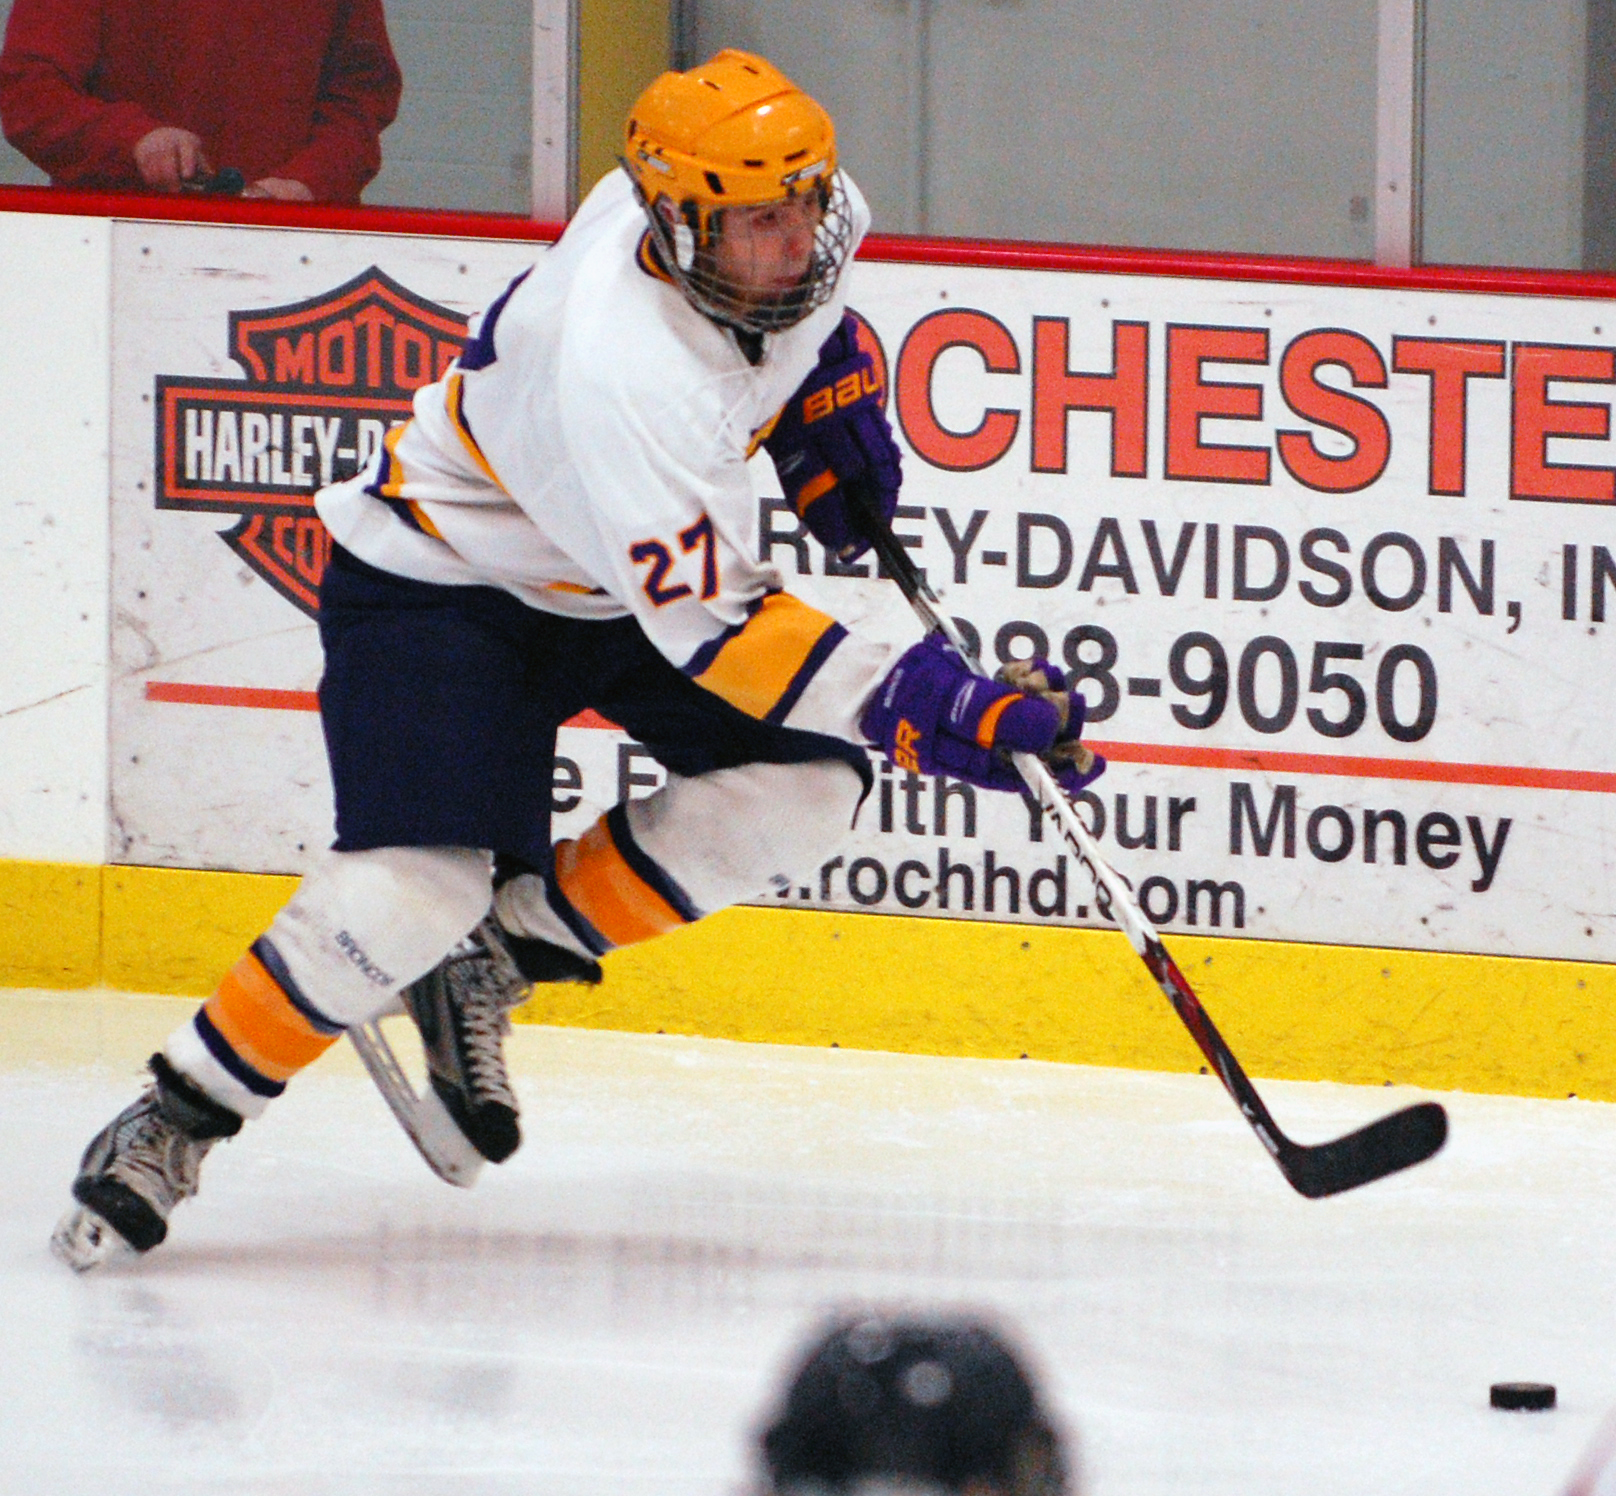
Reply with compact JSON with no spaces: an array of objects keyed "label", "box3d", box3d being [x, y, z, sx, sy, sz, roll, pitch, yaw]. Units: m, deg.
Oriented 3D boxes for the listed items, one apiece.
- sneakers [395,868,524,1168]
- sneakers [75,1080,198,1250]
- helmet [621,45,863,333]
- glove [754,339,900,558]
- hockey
[{"label":"sneakers","box3d":[-0.425,0.361,4.734,0.165,0.354,0.115,-29,-19,36]},{"label":"sneakers","box3d":[-0.828,0.525,4.513,0.150,0.212,0.217,7,10,3]},{"label":"helmet","box3d":[-0.099,-0.667,4.311,0.257,0.270,0.296,-20,45,-33]},{"label":"glove","box3d":[0.033,-0.382,4.736,0.105,0.258,0.198,0,49,38]},{"label":"hockey","box3d":[0.427,0.195,4.852,0.223,0.030,1.391,-21,32,-12]}]
